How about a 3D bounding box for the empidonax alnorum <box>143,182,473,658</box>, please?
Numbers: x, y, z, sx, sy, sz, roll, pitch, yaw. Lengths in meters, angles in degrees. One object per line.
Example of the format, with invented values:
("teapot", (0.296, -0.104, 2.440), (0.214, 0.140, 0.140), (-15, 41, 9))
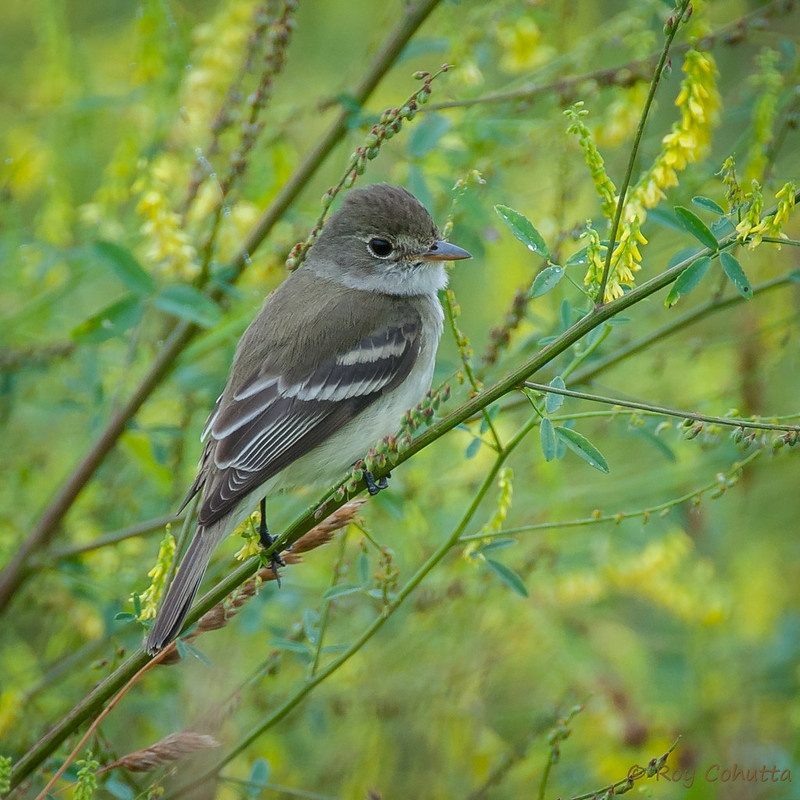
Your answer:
("empidonax alnorum", (-0.257, -0.023, 3.769), (1.174, 1.357, 1.411), (-2, -79, -9))
